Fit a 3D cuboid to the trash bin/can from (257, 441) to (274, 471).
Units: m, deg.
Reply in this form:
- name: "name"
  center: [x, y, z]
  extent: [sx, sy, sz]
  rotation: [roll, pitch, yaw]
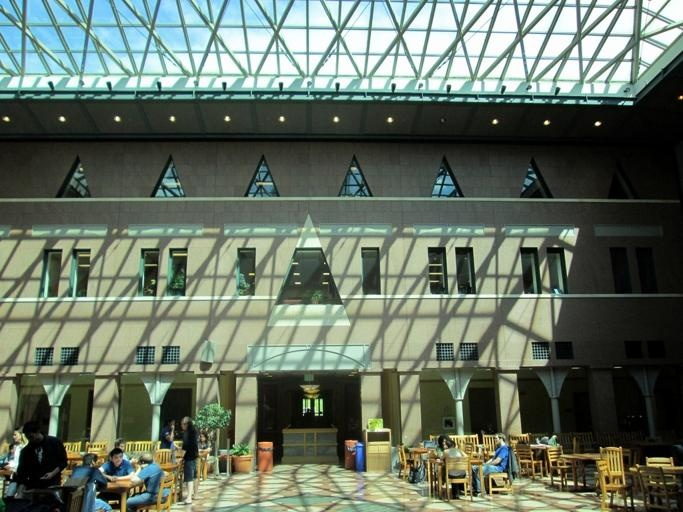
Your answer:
- name: "trash bin/can"
  center: [-3.186, 8.266, 25.336]
  extent: [0.624, 1.179, 0.548]
  rotation: [6, -19, -12]

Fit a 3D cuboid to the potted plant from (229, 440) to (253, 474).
- name: "potted plant"
  center: [-4.121, 8.251, 25.144]
  extent: [0.861, 1.012, 0.972]
  rotation: [2, -20, -9]

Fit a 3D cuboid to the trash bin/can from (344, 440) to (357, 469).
- name: "trash bin/can"
  center: [0.358, 8.162, 25.279]
  extent: [0.653, 1.178, 0.403]
  rotation: [-6, -20, 24]

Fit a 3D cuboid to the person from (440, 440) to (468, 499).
- name: "person"
  center: [3.791, 6.929, 19.775]
  extent: [1.106, 1.751, 1.041]
  rotation: [-10, -24, 33]
